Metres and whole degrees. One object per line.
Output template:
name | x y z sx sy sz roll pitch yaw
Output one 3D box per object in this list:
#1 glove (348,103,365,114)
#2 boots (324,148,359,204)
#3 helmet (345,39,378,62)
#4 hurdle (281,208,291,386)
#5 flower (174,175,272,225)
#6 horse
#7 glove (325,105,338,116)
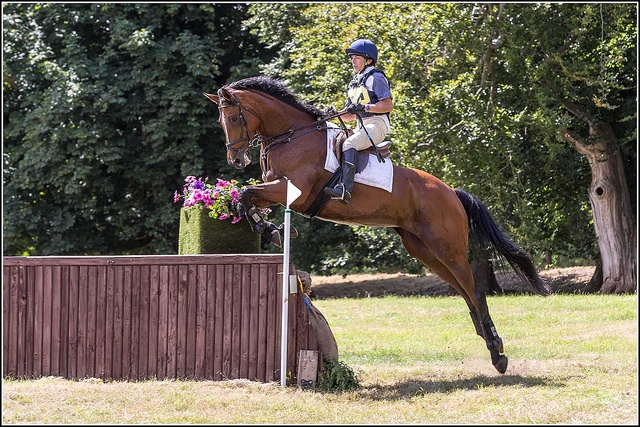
glove | 0.685 -1.956 19.444 0.257 0.090 0.180 -5 -39 1
boots | 0.417 -0.695 19.376 0.703 0.986 0.274 -7 -1 -2
helmet | 0.809 -3.127 19.841 0.534 0.264 0.369 9 -2 -13
hurdle | -0.624 1.697 19.651 0.399 2.711 0.335 2 -3 -4
flower | -2.198 -0.325 20.600 1.416 0.704 1.251 7 -2 -35
horse | 1.495 0.134 22.520 4.980 6.746 12.284 -1 -2 28
glove | 0.226 -1.972 19.956 0.215 0.191 0.053 8 -14 8
